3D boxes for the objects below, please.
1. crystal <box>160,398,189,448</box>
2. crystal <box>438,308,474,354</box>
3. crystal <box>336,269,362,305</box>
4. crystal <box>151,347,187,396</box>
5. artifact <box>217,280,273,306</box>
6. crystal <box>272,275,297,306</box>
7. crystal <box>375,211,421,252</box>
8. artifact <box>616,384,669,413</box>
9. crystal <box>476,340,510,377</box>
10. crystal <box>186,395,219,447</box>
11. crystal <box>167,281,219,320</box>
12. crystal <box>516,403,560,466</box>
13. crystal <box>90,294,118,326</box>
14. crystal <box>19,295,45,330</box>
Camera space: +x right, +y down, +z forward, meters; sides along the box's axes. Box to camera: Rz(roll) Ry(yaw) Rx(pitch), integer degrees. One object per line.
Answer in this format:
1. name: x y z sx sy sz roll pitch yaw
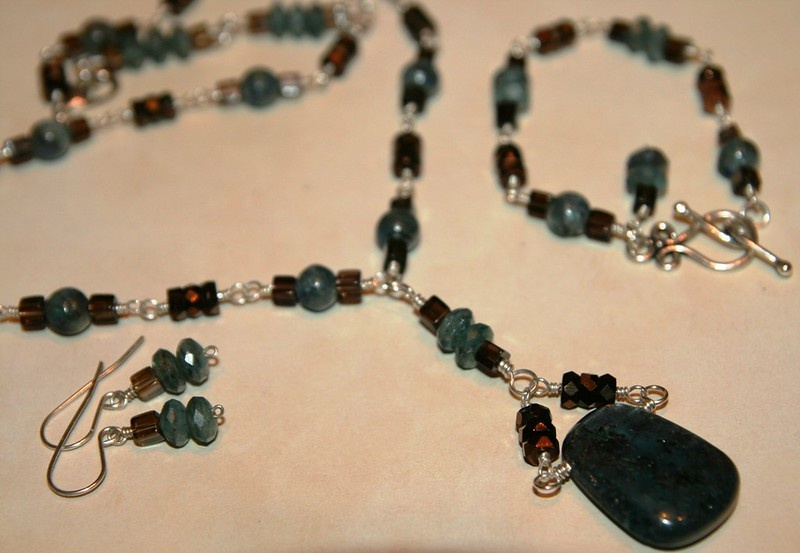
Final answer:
1. crystal: -0.667 0.431 2.572 0.080 0.041 0.137 -6 -92 5
2. crystal: 0.168 0.159 2.719 0.058 0.116 0.120 34 -86 9
3. crystal: -0.161 0.034 2.845 0.078 0.120 0.117 -3 -36 5
4. crystal: -0.699 0.296 2.646 0.078 0.053 0.146 -20 -91 -15
5. artifact: -0.502 0.056 2.817 0.200 0.052 0.077 -3 -95 -18
6. crystal: -0.372 0.052 2.811 0.084 0.051 0.099 3 -59 -5
7. crystal: -0.005 -0.155 2.903 0.109 0.134 0.092 0 -76 3
8. artifact: 0.720 0.344 2.588 0.132 0.080 0.055 7 -47 23
9. crystal: 0.275 0.253 2.634 0.102 0.060 0.064 22 -60 25
10. crystal: -0.594 0.433 2.619 0.069 0.091 0.137 -24 -103 51
11. crystal: -0.666 0.073 2.794 0.152 0.044 0.120 -9 -89 -2
12. crystal: 0.394 0.456 2.557 0.099 0.173 0.067 5 -32 -5
13. crystal: -0.948 0.110 2.812 0.090 0.050 0.089 -3 -59 -2
14. crystal: -1.170 0.123 2.806 0.091 0.057 0.100 -6 -59 0
